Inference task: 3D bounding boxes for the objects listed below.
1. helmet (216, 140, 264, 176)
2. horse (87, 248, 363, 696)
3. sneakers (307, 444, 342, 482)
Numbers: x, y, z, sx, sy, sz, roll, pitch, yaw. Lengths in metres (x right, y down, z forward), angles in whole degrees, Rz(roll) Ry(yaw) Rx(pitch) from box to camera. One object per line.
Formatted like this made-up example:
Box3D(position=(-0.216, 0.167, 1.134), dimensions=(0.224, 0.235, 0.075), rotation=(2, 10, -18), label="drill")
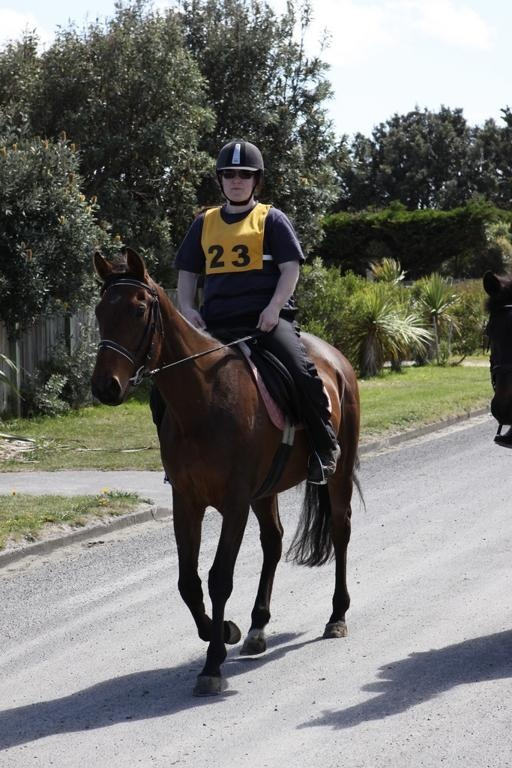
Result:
Box3D(position=(-0.097, -1.265, 4.423), dimensions=(0.258, 0.222, 0.269), rotation=(-3, 2, -1), label="helmet")
Box3D(position=(-0.052, 0.464, 4.458), dimensions=(0.740, 2.105, 2.735), rotation=(-3, -5, 28), label="horse")
Box3D(position=(0.383, 0.440, 4.633), dimensions=(0.151, 0.235, 0.093), rotation=(9, -4, -22), label="sneakers")
